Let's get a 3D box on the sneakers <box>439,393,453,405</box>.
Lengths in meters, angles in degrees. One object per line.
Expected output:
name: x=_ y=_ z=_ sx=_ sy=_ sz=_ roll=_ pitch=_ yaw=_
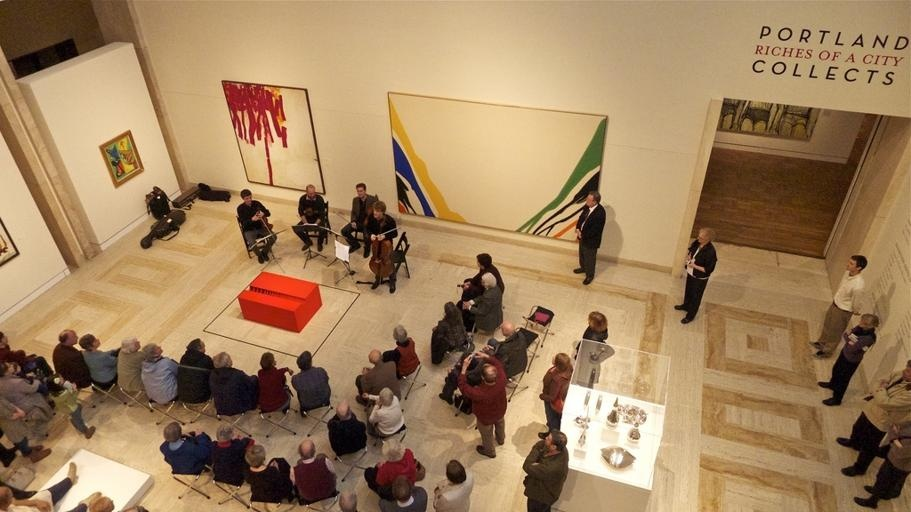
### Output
sneakers: x=-0.176 y=2.659 z=10.133 sx=0.248 sy=0.168 sz=0.078 roll=23 pitch=57 yaw=14

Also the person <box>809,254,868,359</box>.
person: x=7.484 y=1.041 z=10.561 sx=0.640 sy=2.364 sz=0.618 roll=1 pitch=47 yaw=7

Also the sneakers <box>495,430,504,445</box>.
sneakers: x=0.784 y=3.196 z=9.635 sx=0.130 sy=0.284 sz=0.283 roll=-7 pitch=59 yaw=3

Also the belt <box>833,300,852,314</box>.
belt: x=7.301 y=0.916 z=10.212 sx=0.265 sy=0.247 sz=0.257 roll=-16 pitch=35 yaw=-43

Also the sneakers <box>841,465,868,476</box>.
sneakers: x=6.863 y=3.672 z=9.307 sx=0.334 sy=0.216 sz=0.123 roll=2 pitch=49 yaw=20

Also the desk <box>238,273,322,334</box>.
desk: x=-3.625 y=0.934 z=11.225 sx=1.739 sy=0.716 sz=1.117 roll=13 pitch=40 yaw=10

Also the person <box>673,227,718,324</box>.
person: x=4.923 y=0.377 z=11.080 sx=0.559 sy=2.025 sz=0.757 roll=12 pitch=18 yaw=22

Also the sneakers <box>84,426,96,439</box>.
sneakers: x=-6.705 y=3.227 z=9.963 sx=0.129 sy=0.182 sz=0.202 roll=-1 pitch=0 yaw=8

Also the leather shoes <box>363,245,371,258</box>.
leather shoes: x=-2.024 y=-0.118 z=12.579 sx=0.143 sy=0.265 sz=0.191 roll=1 pitch=-9 yaw=-1

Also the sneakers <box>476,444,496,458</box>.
sneakers: x=0.523 y=3.459 z=9.607 sx=0.374 sy=0.233 sz=0.152 roll=28 pitch=57 yaw=21

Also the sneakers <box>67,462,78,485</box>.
sneakers: x=-6.650 y=3.750 z=9.414 sx=0.137 sy=0.384 sz=0.176 roll=8 pitch=-23 yaw=-36

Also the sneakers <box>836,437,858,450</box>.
sneakers: x=6.914 y=3.293 z=9.619 sx=0.301 sy=0.110 sz=0.203 roll=21 pitch=-15 yaw=27

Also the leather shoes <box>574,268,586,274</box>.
leather shoes: x=2.797 y=0.323 z=12.207 sx=0.265 sy=0.166 sz=0.084 roll=9 pitch=62 yaw=5

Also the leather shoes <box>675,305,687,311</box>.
leather shoes: x=4.745 y=1.077 z=11.426 sx=0.233 sy=0.150 sz=0.081 roll=12 pitch=68 yaw=16

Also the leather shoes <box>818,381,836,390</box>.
leather shoes: x=7.026 y=2.434 z=10.268 sx=0.253 sy=0.083 sz=0.165 roll=13 pitch=-14 yaw=20

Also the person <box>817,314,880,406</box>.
person: x=7.280 y=1.941 z=9.999 sx=0.491 sy=1.950 sz=0.600 roll=11 pitch=48 yaw=18

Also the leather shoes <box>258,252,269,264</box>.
leather shoes: x=-4.394 y=0.041 z=12.496 sx=0.341 sy=0.226 sz=0.124 roll=38 pitch=57 yaw=16

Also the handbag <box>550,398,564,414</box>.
handbag: x=1.756 y=2.549 z=9.240 sx=0.262 sy=0.217 sz=0.197 roll=-24 pitch=-10 yaw=13

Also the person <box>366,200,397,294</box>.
person: x=-1.599 y=-0.148 z=11.834 sx=0.666 sy=2.014 sz=0.600 roll=6 pitch=20 yaw=11

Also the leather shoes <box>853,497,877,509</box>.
leather shoes: x=6.843 y=4.105 z=9.041 sx=0.282 sy=0.188 sz=0.104 roll=13 pitch=62 yaw=29

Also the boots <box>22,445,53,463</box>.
boots: x=-7.521 y=3.542 z=9.715 sx=0.489 sy=0.306 sz=0.162 roll=-5 pitch=53 yaw=-13
